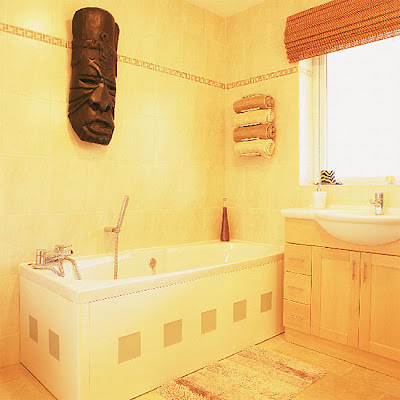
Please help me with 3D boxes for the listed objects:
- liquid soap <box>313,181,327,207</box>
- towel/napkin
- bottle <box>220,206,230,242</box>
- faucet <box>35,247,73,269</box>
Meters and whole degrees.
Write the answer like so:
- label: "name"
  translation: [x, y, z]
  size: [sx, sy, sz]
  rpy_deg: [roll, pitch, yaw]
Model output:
- label: "liquid soap"
  translation: [0.855, -0.030, 2.889]
  size: [0.090, 0.166, 0.221]
  rpy_deg: [2, 5, 18]
- label: "towel/napkin"
  translation: [0.426, -0.579, 3.216]
  size: [0.311, 0.518, 0.155]
  rpy_deg: [3, 3, 41]
- label: "bottle"
  translation: [0.214, 0.204, 3.498]
  size: [0.079, 0.291, 0.164]
  rpy_deg: [1, 4, 3]
- label: "faucet"
  translation: [-0.845, 0.316, 2.373]
  size: [0.084, 0.123, 0.256]
  rpy_deg: [4, 7, 30]
